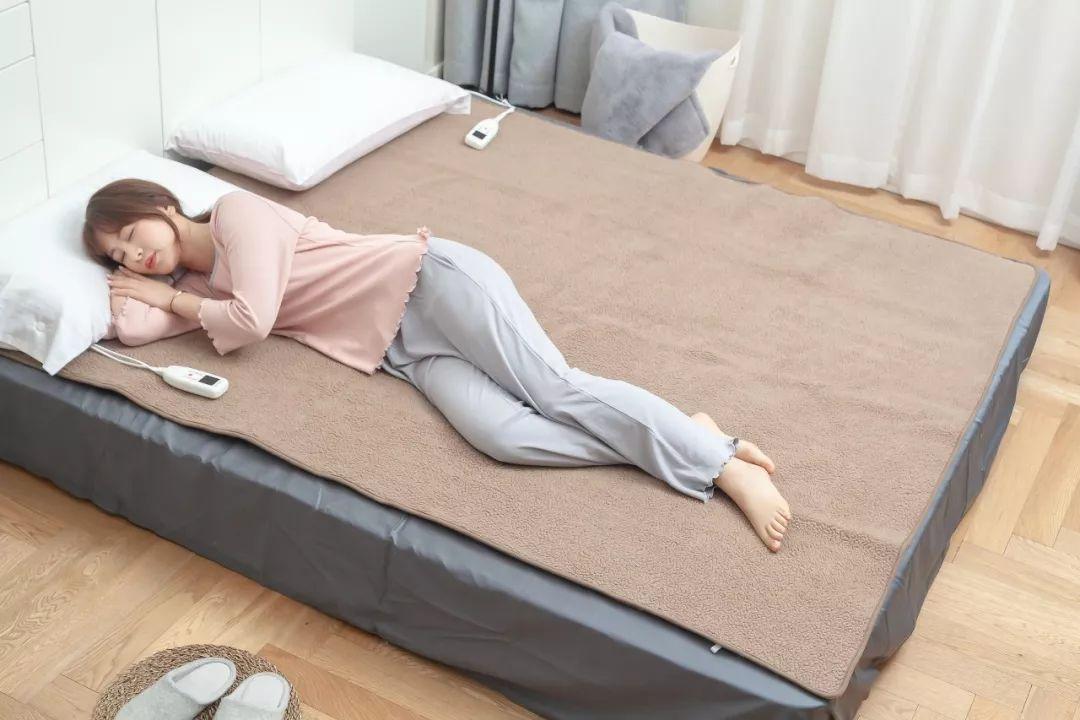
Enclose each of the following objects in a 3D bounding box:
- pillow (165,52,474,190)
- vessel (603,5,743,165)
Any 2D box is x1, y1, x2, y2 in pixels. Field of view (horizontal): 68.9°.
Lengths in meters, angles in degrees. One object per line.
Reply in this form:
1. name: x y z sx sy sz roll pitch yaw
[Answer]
1. pillow: -0.860 -0.870 2.904 0.621 0.196 0.832 24 40 20
2. vessel: 0.568 -1.239 3.497 0.726 0.552 0.393 28 50 23
